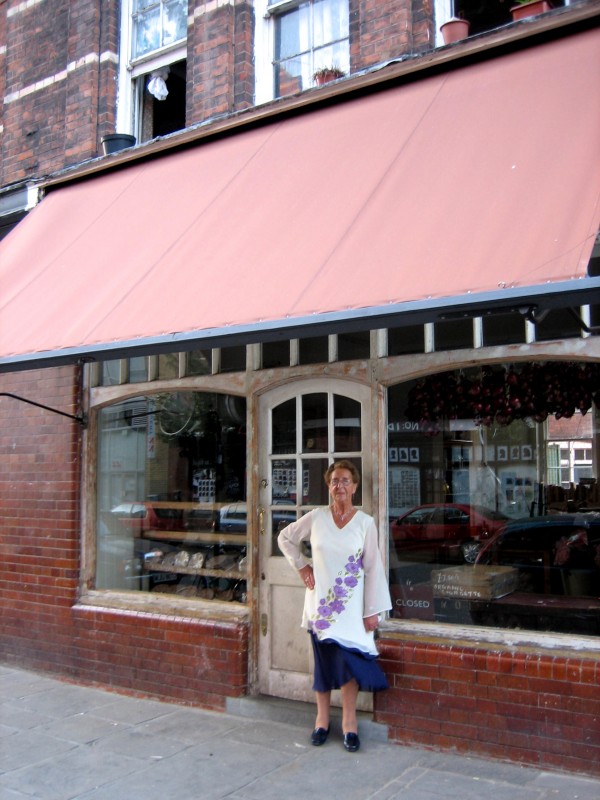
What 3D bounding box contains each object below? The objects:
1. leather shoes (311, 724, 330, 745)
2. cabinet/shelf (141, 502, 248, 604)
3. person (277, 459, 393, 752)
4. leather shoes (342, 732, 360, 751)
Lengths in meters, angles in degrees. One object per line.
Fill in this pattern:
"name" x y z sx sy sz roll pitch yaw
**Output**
"leather shoes" 0.134 2.120 5.711 0.080 0.067 0.222 -1 -13 8
"cabinet/shelf" -0.896 1.183 7.217 0.279 0.730 1.337 0 -3 -37
"person" 0.230 1.285 5.768 0.664 1.764 0.453 -4 -3 40
"leather shoes" 0.313 2.103 5.552 0.081 0.062 0.157 0 -14 1
